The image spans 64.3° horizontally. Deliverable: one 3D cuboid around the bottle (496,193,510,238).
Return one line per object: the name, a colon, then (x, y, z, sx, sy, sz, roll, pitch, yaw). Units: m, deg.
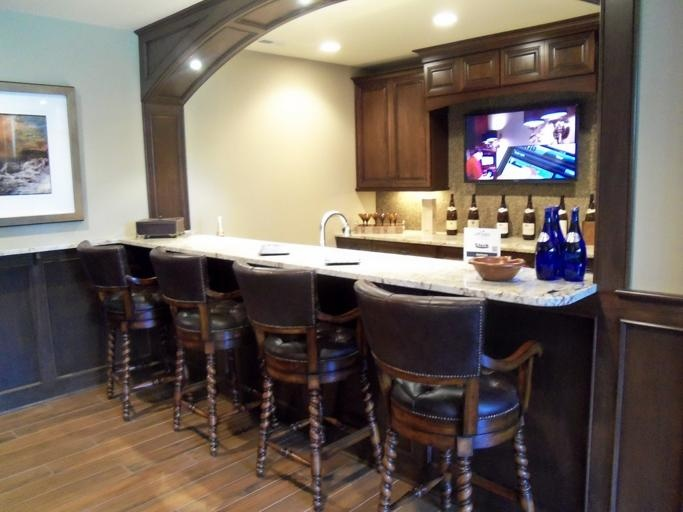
bottle: (1.601, -0.398, 5.371, 0.128, 0.419, 0.278, 0, 11, 16)

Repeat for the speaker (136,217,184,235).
speaker: (-1.476, -0.230, 4.421, 0.207, 0.088, 0.207, 1, 6, 10)

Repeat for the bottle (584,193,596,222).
bottle: (2.147, -0.415, 4.687, 0.071, 0.220, 0.350, 1, 11, 22)

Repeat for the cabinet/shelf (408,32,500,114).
cabinet/shelf: (1.211, -1.744, 5.224, 0.935, 0.579, 0.330, 8, 17, 44)

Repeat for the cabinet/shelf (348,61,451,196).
cabinet/shelf: (0.666, -1.423, 5.874, 1.361, 1.585, 0.658, 5, 9, 40)

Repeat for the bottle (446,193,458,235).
bottle: (1.177, -0.446, 5.781, 0.118, 0.426, 0.289, 0, 11, 14)

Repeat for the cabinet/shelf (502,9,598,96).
cabinet/shelf: (1.771, -1.752, 4.742, 0.799, 0.512, 0.439, -2, 28, 20)

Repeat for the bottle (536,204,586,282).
bottle: (1.064, -0.059, 2.632, 0.222, 0.349, 0.146, 2, 12, 24)

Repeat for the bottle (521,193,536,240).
bottle: (1.799, -0.376, 5.199, 0.125, 0.418, 0.195, 0, 11, 16)

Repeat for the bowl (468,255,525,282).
bowl: (0.759, 0.057, 2.677, 0.164, 0.061, 0.171, 0, 6, 0)

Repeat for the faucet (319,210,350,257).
faucet: (-0.061, -0.144, 3.948, 0.252, 0.511, 0.106, 4, 51, 2)

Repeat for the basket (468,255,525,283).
basket: (0.760, 0.038, 2.679, 0.173, 0.062, 0.163, -5, 8, -39)

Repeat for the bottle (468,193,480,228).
bottle: (1.352, -0.467, 5.555, 0.122, 0.331, 0.327, 0, 11, 15)
